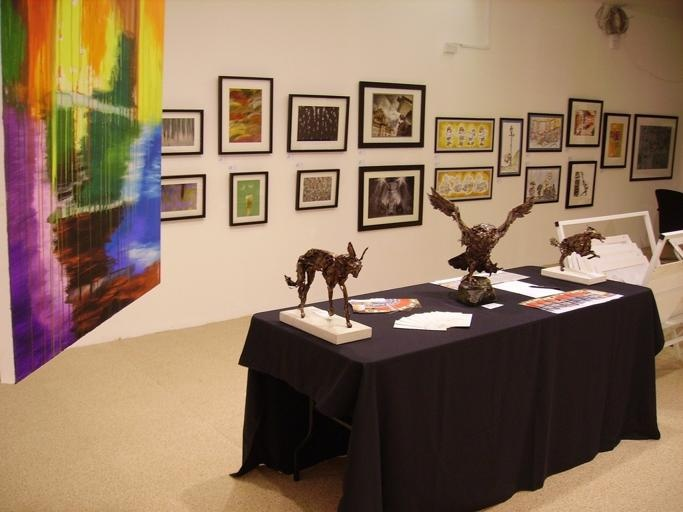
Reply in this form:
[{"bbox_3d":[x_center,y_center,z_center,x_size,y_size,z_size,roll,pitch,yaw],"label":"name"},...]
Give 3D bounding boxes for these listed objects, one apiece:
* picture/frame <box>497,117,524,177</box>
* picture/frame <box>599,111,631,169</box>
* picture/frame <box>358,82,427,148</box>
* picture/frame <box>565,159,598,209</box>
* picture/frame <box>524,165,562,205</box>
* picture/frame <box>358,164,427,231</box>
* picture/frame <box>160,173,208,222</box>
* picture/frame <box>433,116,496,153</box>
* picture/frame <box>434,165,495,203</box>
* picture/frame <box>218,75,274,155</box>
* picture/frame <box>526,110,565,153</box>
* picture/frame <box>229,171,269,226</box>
[{"bbox_3d":[2.595,-1.669,7.909,0.026,0.871,0.424,-10,16,-37],"label":"picture/frame"},{"bbox_3d":[4.831,-2.100,9.135,0.863,1.371,0.050,-5,7,-40],"label":"picture/frame"},{"bbox_3d":[0.621,-1.868,6.708,0.817,0.738,0.034,-2,8,-31],"label":"picture/frame"},{"bbox_3d":[4.090,-1.271,8.823,0.720,0.945,0.040,-6,10,-41],"label":"picture/frame"},{"bbox_3d":[3.282,-1.171,8.410,0.022,0.579,0.682,-4,7,-26],"label":"picture/frame"},{"bbox_3d":[0.638,-0.814,6.905,0.775,0.762,0.040,-5,10,-33],"label":"picture/frame"},{"bbox_3d":[-1.696,-0.639,5.461,0.694,0.589,0.031,-4,8,-44],"label":"picture/frame"},{"bbox_3d":[1.784,-1.751,7.417,1.147,0.494,0.108,-8,15,-33],"label":"picture/frame"},{"bbox_3d":[1.814,-1.063,7.560,1.173,0.517,0.053,-7,14,-30],"label":"picture/frame"},{"bbox_3d":[-1.081,-1.593,5.774,0.568,0.913,0.051,0,-9,-6],"label":"picture/frame"},{"bbox_3d":[3.267,-1.985,8.248,0.899,0.601,0.152,-9,16,-38],"label":"picture/frame"},{"bbox_3d":[-1.094,-0.692,5.955,0.531,0.738,0.046,-4,9,-38],"label":"picture/frame"}]
